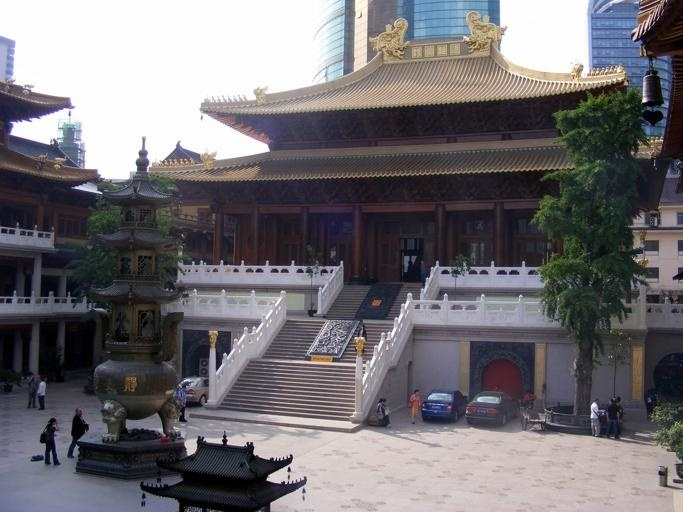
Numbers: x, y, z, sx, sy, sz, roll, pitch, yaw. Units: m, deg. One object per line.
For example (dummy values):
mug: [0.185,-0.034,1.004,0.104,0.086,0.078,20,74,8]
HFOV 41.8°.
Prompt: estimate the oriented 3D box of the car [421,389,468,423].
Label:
car: [4.660,6.987,41.882,1.348,1.265,1.796,7,12,28]

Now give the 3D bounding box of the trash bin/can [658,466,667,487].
trash bin/can: [11.890,8.124,33.266,0.345,0.700,0.493,5,11,20]

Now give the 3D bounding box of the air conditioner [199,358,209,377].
air conditioner: [-7.678,6.081,49.678,0.600,0.905,0.355,3,11,8]

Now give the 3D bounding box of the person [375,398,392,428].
person: [1.840,6.904,40.361,0.614,1.195,0.852,1,11,2]

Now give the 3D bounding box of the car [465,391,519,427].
car: [6.749,7.041,41.206,1.301,1.297,2.133,10,14,39]
